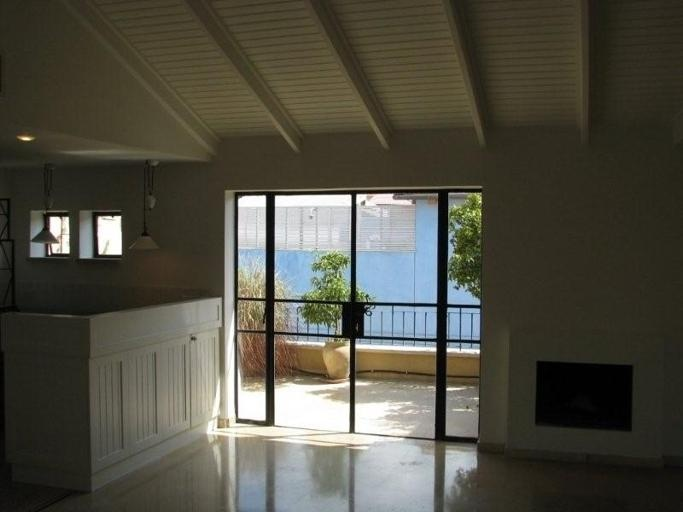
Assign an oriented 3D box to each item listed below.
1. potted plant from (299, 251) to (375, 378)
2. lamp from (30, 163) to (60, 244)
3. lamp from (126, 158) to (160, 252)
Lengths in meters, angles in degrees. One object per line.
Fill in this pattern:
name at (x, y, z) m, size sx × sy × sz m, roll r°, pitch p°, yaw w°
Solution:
potted plant at (-0.111, 0.645, 6.750) m, size 0.887 × 1.514 × 0.625 m, roll -12°, pitch -14°, yaw 40°
lamp at (-3.731, -0.686, 7.256) m, size 0.318 × 1.012 × 0.338 m, roll 1°, pitch -1°, yaw 33°
lamp at (-2.338, -0.593, 6.879) m, size 0.314 × 1.054 × 0.526 m, roll 4°, pitch -5°, yaw -21°
